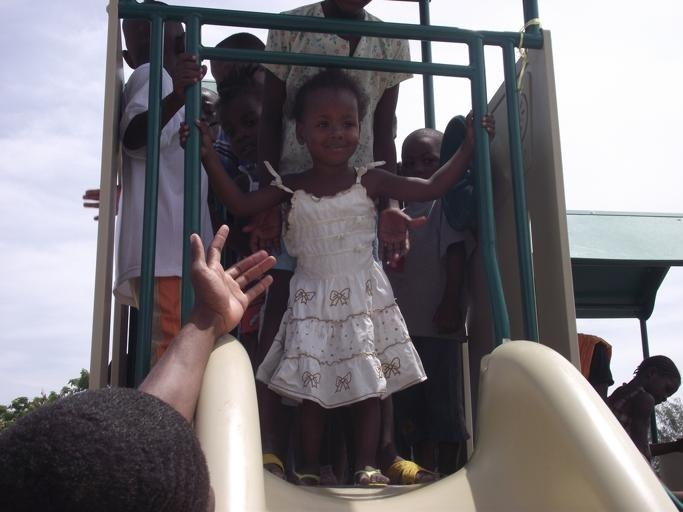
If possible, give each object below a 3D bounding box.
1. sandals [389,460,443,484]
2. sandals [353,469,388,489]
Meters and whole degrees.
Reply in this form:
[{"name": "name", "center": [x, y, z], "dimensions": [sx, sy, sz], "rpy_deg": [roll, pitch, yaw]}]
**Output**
[{"name": "sandals", "center": [0.281, 0.809, 2.453], "dimensions": [0.081, 0.100, 0.231], "rpy_deg": [-20, -2, -37]}, {"name": "sandals", "center": [0.105, 0.794, 2.278], "dimensions": [0.099, 0.050, 0.057], "rpy_deg": [-10, -33, 21]}]
